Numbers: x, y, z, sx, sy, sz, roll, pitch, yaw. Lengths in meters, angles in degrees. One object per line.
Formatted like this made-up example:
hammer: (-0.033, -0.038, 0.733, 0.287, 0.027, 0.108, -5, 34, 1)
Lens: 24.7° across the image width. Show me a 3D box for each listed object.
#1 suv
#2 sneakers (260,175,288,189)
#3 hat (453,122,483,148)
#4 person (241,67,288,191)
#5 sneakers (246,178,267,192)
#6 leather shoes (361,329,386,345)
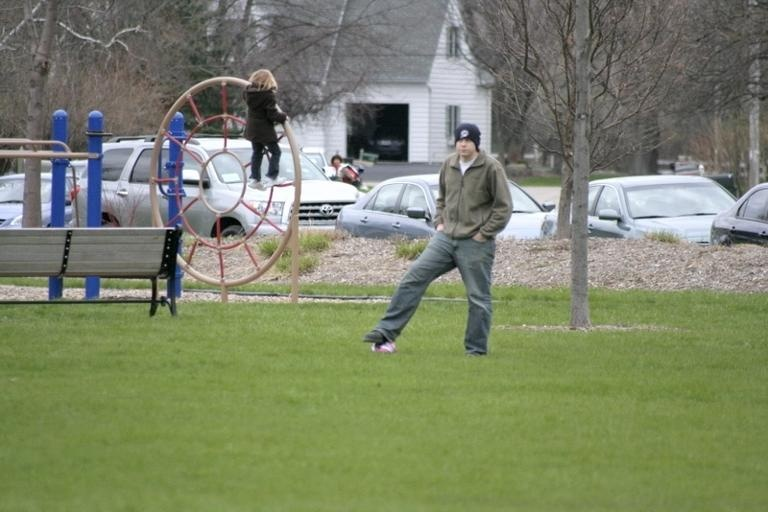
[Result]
suv: (-3.794, -1.303, 36.264, 4.770, 2.045, 2.509, 0, 2, 30)
sneakers: (-1.919, -1.236, 30.403, 0.540, 0.243, 0.192, -4, 12, -21)
hat: (1.315, -1.897, 28.151, 0.340, 0.330, 0.415, 2, -1, 6)
person: (-2.117, -2.119, 30.023, 0.673, 2.008, 0.615, 1, 5, -4)
sneakers: (-2.283, -1.191, 30.435, 0.414, 0.178, 0.157, 8, 10, 39)
leather shoes: (-0.207, 1.331, 28.112, 0.388, 0.188, 0.183, 8, -1, -12)
